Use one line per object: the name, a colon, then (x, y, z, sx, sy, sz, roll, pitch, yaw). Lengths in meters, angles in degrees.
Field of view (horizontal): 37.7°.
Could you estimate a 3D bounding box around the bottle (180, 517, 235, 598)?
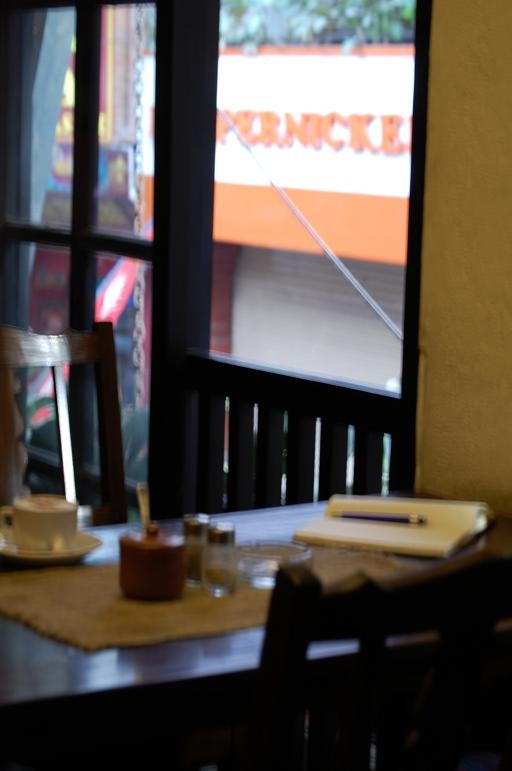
bottle: (-0.054, 0.186, 0.840, 0.040, 0.105, 0.079, -2, 5, -31)
